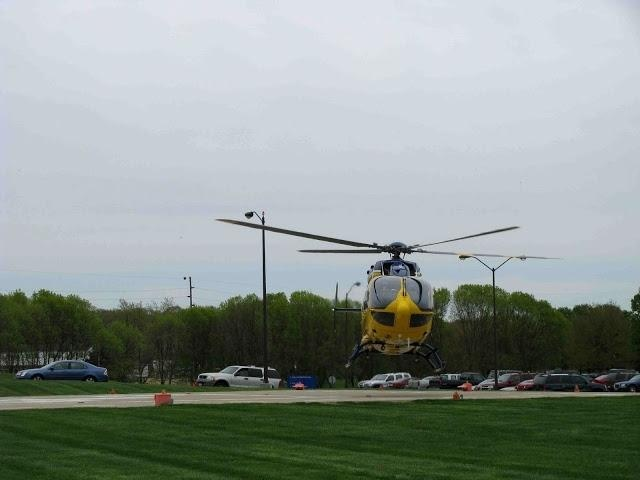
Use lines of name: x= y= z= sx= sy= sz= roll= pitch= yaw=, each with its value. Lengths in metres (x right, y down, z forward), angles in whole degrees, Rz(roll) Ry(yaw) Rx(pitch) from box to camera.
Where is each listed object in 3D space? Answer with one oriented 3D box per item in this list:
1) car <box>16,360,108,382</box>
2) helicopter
car: x=-15.282 y=7.855 z=73.830 sx=4.482 sy=1.391 sz=2.069 roll=5 pitch=-10 yaw=-7
helicopter: x=3.610 y=3.240 z=64.985 sx=18.045 sy=7.008 sz=19.038 roll=3 pitch=-11 yaw=-6
